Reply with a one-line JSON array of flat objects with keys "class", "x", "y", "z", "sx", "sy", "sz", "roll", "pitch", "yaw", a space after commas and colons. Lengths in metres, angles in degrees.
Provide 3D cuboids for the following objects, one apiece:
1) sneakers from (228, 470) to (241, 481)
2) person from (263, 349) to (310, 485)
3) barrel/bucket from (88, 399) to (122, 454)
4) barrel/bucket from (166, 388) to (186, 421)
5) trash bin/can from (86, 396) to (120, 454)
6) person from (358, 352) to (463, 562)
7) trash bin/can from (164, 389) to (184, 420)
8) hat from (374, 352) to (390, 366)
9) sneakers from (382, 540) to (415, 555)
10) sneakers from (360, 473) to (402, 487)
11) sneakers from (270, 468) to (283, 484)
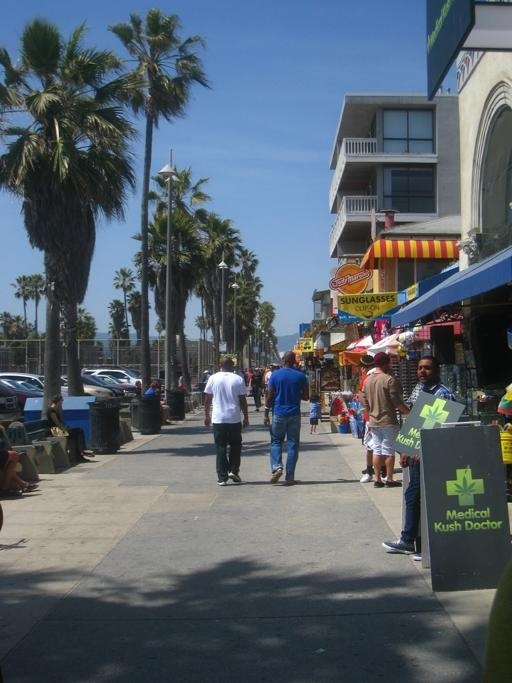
[{"class": "sneakers", "x": -0.274, "y": 1.746, "z": 11.219, "sx": 0.078, "sy": 0.211, "sz": 0.098, "roll": -17, "pitch": 37, "yaw": 22}, {"class": "person", "x": 0.407, "y": 0.978, "z": 11.673, "sx": 0.589, "sy": 1.685, "sz": 1.525, "roll": -1, "pitch": -2, "yaw": 1}, {"class": "barrel/bucket", "x": -2.664, "y": 1.505, "z": 15.566, "sx": 0.688, "sy": 1.025, "sz": 0.775, "roll": 1, "pitch": -3, "yaw": -21}, {"class": "barrel/bucket", "x": -2.360, "y": 1.860, "z": 25.989, "sx": 0.689, "sy": 1.142, "sz": 0.713, "roll": -1, "pitch": -5, "yaw": 0}, {"class": "trash bin/can", "x": -2.654, "y": 1.450, "z": 15.416, "sx": 0.850, "sy": 1.099, "sz": 0.703, "roll": -1, "pitch": -4, "yaw": -6}, {"class": "person", "x": 1.271, "y": 0.871, "z": 6.767, "sx": 0.512, "sy": 1.534, "sz": 0.850, "roll": -1, "pitch": -2, "yaw": -8}, {"class": "trash bin/can", "x": -2.351, "y": 1.844, "z": 25.716, "sx": 0.675, "sy": 1.082, "sz": 0.702, "roll": 0, "pitch": -5, "yaw": -12}, {"class": "hat", "x": 1.478, "y": 0.197, "z": 10.266, "sx": 0.125, "sy": 0.179, "sz": 0.172, "roll": 8, "pitch": 34, "yaw": 14}, {"class": "sneakers", "x": 1.117, "y": 1.602, "z": 6.856, "sx": 0.239, "sy": 0.125, "sz": 0.093, "roll": 6, "pitch": -6, "yaw": 21}, {"class": "sneakers", "x": 1.545, "y": 1.720, "z": 10.829, "sx": 0.495, "sy": 0.223, "sz": 0.182, "roll": 0, "pitch": 1, "yaw": 5}, {"class": "sneakers", "x": 0.264, "y": 1.675, "z": 11.003, "sx": 0.099, "sy": 0.254, "sz": 0.106, "roll": 7, "pitch": 40, "yaw": -6}]
